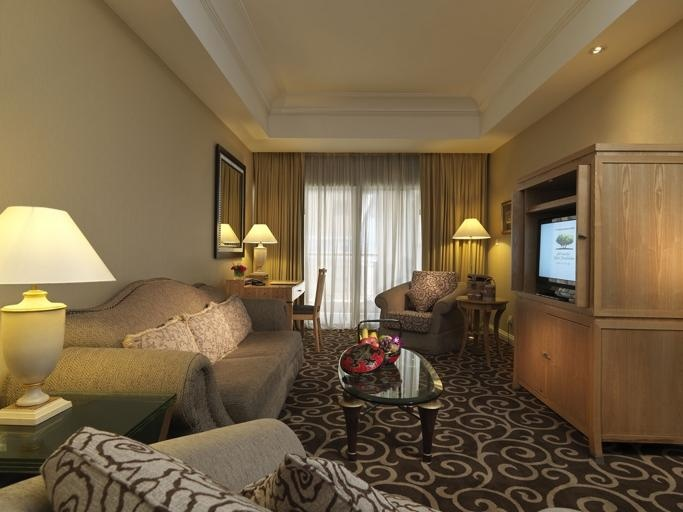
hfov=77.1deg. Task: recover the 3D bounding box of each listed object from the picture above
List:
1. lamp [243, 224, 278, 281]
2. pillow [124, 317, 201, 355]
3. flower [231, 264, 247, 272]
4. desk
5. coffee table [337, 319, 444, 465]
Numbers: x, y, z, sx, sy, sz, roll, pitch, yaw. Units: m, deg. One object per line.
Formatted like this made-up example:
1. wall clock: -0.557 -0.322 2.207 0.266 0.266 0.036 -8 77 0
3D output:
1. lamp: -1.062 -0.086 6.019 0.621 0.920 0.652 1 1 5
2. pillow: -1.116 0.511 2.667 0.094 0.200 0.482 -31 -9 1
3. flower: -1.203 0.142 5.121 0.113 0.063 0.118 0 -1 19
4. desk: -0.904 0.740 5.180 0.601 0.617 0.940 0 0 1
5. coffee table: 0.324 0.910 3.018 0.526 0.620 1.042 -1 0 4
